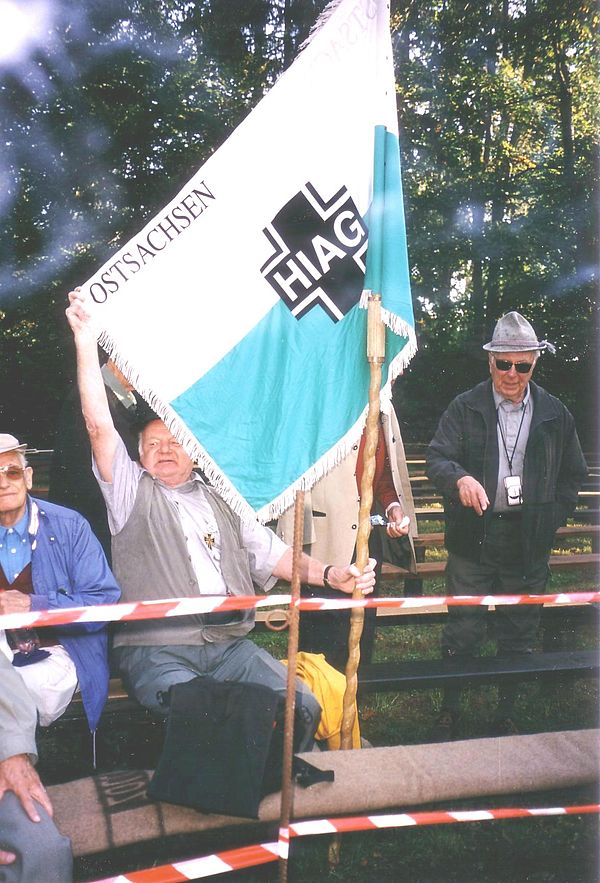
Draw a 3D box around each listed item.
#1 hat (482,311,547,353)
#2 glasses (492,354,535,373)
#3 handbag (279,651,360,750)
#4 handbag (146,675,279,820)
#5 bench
[{"bbox_3d":[0.962,-0.505,5.162,0.294,0.133,0.351,1,-3,8],"label":"hat"},{"bbox_3d":[0.917,-0.328,4.894,0.163,0.072,0.076,1,7,8],"label":"glasses"},{"bbox_3d":[0.070,0.911,3.914,0.274,0.131,0.341,19,30,3],"label":"handbag"},{"bbox_3d":[-0.237,0.886,3.335,0.407,0.372,0.156,7,-10,4],"label":"handbag"},{"bbox_3d":[-0.441,0.623,4.390,2.633,0.795,0.996,0,13,-30],"label":"bench"}]
